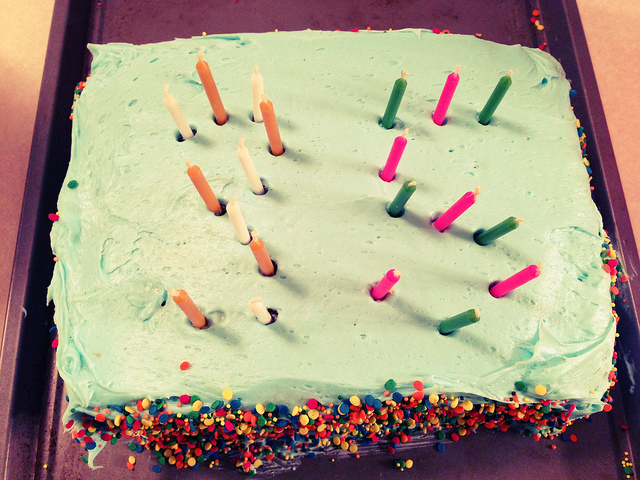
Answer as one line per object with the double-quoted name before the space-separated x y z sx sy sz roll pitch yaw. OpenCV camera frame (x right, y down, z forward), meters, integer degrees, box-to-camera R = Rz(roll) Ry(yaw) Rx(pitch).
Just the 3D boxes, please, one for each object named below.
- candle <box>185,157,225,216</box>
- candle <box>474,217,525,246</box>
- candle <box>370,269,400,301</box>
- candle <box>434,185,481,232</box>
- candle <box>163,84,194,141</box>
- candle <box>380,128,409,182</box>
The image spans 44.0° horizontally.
"candle" -0.618 -0.303 4.274 0.226 0.443 0.079 36 71 10
"candle" 0.967 -0.060 4.285 0.181 0.352 0.065 -5 69 -6
"candle" 0.338 0.222 4.199 0.110 0.322 0.076 -25 72 -13
"candle" 0.732 -0.187 4.257 0.167 0.461 0.074 -21 71 -11
"candle" -0.818 -0.720 4.484 0.083 0.372 0.071 -1 52 16
"candle" 0.404 -0.480 4.406 0.170 0.248 0.147 2 53 -1
